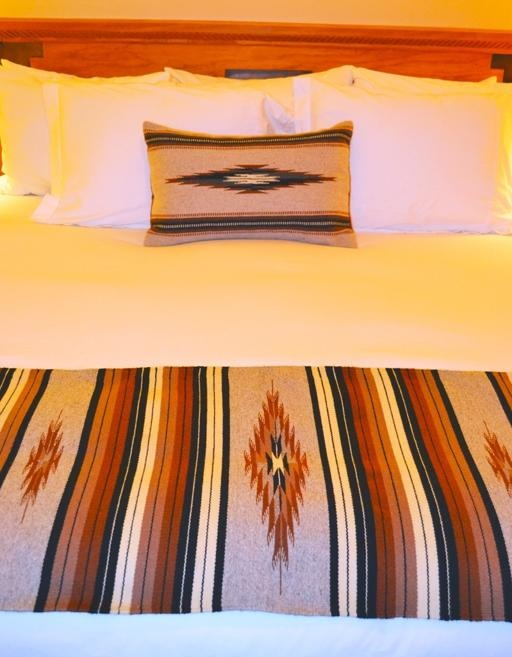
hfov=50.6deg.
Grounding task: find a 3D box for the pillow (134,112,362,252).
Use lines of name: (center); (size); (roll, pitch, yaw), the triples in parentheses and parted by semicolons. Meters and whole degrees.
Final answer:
pillow: (-0.013, -0.359, 1.422); (0.534, 0.321, 0.123); (-1, 2, 0)
